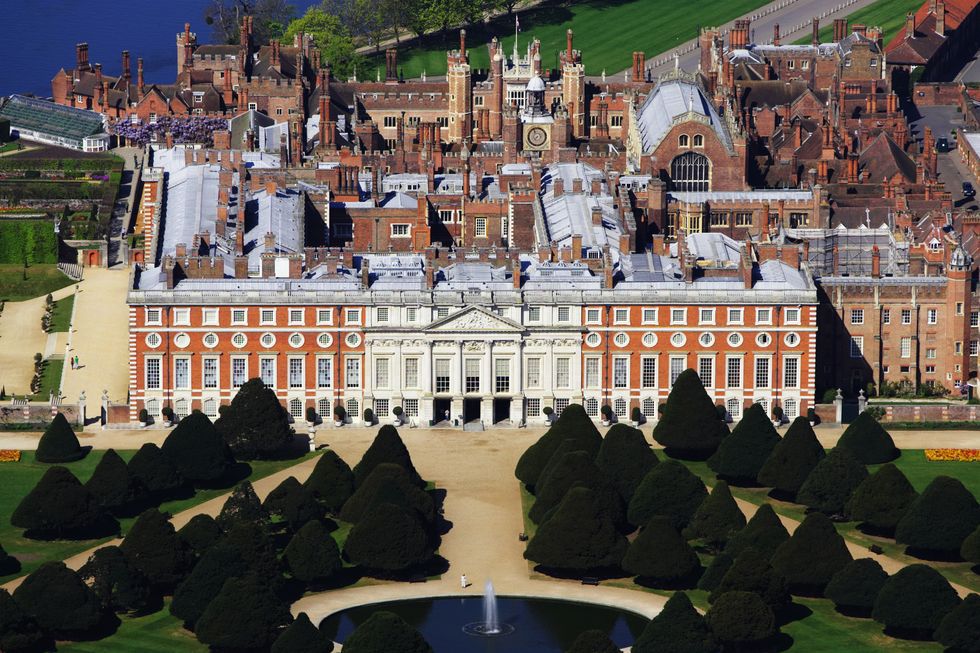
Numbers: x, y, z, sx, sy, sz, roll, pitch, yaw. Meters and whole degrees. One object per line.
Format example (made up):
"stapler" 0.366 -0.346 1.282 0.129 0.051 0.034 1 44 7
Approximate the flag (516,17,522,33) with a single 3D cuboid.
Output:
"flag" 4.471 -46.632 297.055 0.422 1.666 2.227 0 1 16
